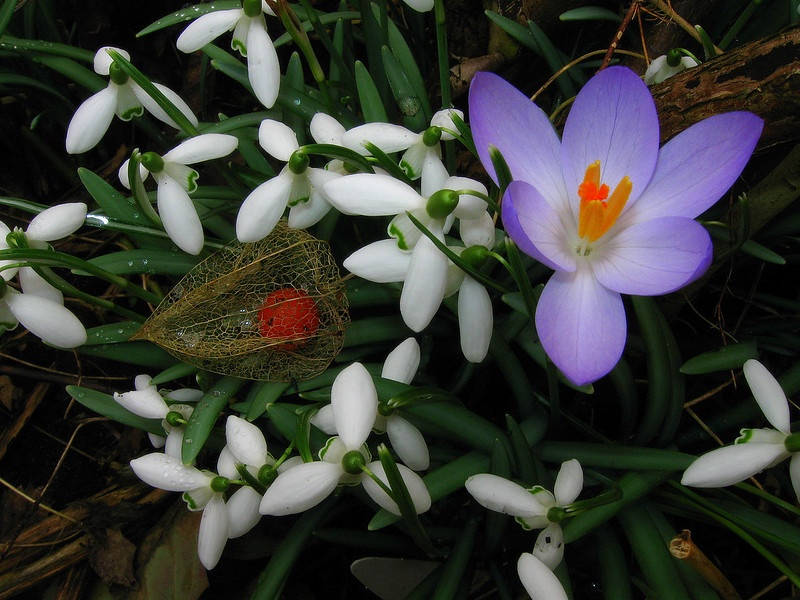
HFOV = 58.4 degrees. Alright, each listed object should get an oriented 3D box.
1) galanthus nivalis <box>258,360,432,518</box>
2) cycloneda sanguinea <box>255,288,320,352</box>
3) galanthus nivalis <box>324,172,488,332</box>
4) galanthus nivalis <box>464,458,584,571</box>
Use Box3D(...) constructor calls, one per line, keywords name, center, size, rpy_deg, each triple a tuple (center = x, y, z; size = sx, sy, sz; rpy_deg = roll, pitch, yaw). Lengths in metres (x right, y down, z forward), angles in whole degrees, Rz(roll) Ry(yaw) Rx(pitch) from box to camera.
Box3D(name="galanthus nivalis", center=(-0.075, 0.205, 0.915), size=(0.158, 0.233, 0.230), rpy_deg=(11, 21, 32))
Box3D(name="cycloneda sanguinea", center=(-0.164, 0.027, 1.047), size=(0.083, 0.086, 0.071), rpy_deg=(-8, 26, -18))
Box3D(name="galanthus nivalis", center=(-0.004, -0.078, 0.977), size=(0.196, 0.121, 0.203), rpy_deg=(-30, 94, -25))
Box3D(name="galanthus nivalis", center=(0.155, 0.253, 1.018), size=(0.167, 0.158, 0.131), rpy_deg=(-8, 23, -34))
